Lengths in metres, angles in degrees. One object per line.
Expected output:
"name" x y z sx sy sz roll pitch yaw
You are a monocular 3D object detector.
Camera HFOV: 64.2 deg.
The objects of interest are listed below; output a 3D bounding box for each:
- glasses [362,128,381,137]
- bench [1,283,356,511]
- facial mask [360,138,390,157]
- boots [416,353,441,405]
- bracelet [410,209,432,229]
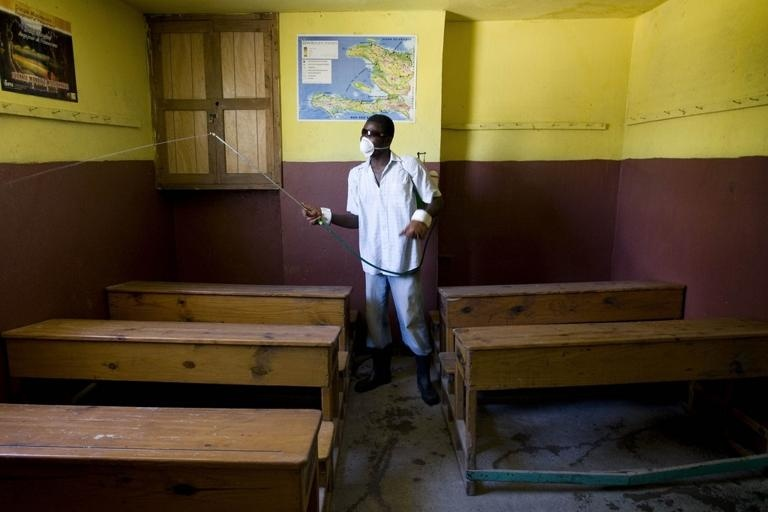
"glasses" -0.079 -0.924 4.589 0.148 0.063 0.043 -1 13 0
"bench" -1.220 0.806 4.707 2.220 1.043 1.334 2 12 15
"facial mask" -0.073 -0.820 4.655 0.171 0.091 0.131 -4 5 -28
"boots" 0.364 0.997 4.957 0.178 0.374 0.414 -2 -2 -16
"bracelet" 0.294 -0.278 4.657 0.144 0.090 0.137 5 14 19
